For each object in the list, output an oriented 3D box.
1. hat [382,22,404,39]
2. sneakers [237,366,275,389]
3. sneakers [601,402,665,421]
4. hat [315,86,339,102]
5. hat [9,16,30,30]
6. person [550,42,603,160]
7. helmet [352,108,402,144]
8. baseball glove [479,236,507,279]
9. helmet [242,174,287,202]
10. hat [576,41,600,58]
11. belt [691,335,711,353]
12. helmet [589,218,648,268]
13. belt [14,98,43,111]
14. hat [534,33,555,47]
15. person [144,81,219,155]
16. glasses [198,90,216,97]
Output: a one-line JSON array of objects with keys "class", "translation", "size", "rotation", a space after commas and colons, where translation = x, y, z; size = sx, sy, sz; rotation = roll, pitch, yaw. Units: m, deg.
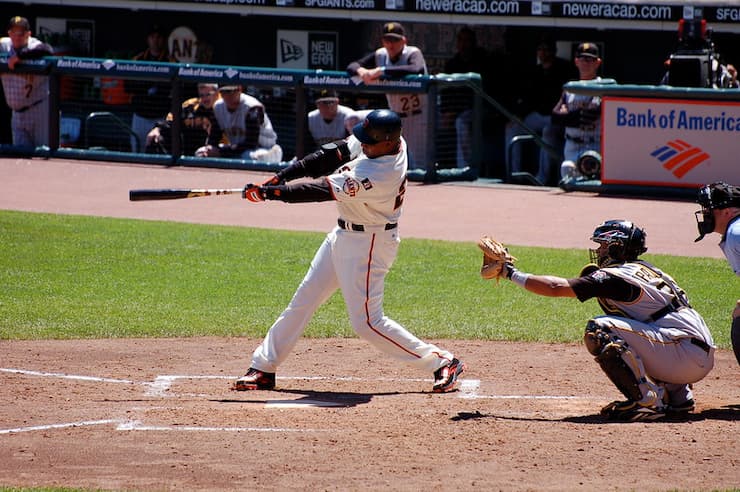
[{"class": "hat", "translation": [0.313, -3.033, 20.905], "size": [0.299, 0.188, 0.379], "rotation": [1, -6, 15]}, {"class": "sneakers", "translation": [-1.148, 1.364, 15.209], "size": [0.449, 0.172, 0.169], "rotation": [2, 3, -6]}, {"class": "sneakers", "translation": [2.523, 1.588, 14.530], "size": [0.394, 0.116, 0.249], "rotation": [-3, 2, -1]}, {"class": "hat", "translation": [-0.603, -2.131, 21.044], "size": [0.233, 0.164, 0.302], "rotation": [-4, 26, 5]}, {"class": "hat", "translation": [-5.104, -3.280, 21.823], "size": [0.241, 0.198, 0.553], "rotation": [-1, 5, -9]}, {"class": "person", "translation": [2.924, -2.009, 20.777], "size": [0.547, 1.641, 0.797], "rotation": [-2, 7, -22]}, {"class": "helmet", "translation": [0.065, -1.185, 14.636], "size": [0.469, 0.278, 0.214], "rotation": [3, -38, -3]}, {"class": "baseball glove", "translation": [1.194, 0.113, 14.702], "size": [0.199, 0.359, 0.319], "rotation": [-16, 0, 21]}, {"class": "helmet", "translation": [-1.079, -0.553, 14.847], "size": [0.343, 0.123, 0.305], "rotation": [-13, 4, 18]}, {"class": "hat", "translation": [3.019, -2.753, 20.815], "size": [0.332, 0.181, 0.407], "rotation": [6, -5, 19]}, {"class": "belt", "translation": [3.196, 0.951, 14.527], "size": [0.183, 0.056, 0.129], "rotation": [24, 8, -5]}, {"class": "helmet", "translation": [2.406, -0.049, 14.518], "size": [0.592, 0.357, 0.411], "rotation": [4, 2, 12]}, {"class": "belt", "translation": [-5.034, -2.124, 22.120], "size": [0.321, 0.080, 0.213], "rotation": [-20, 10, -2]}, {"class": "hat", "translation": [2.533, -3.004, 21.732], "size": [0.259, 0.185, 0.371], "rotation": [1, 5, 5]}, {"class": "person", "translation": [-2.699, -1.856, 21.924], "size": [0.967, 1.056, 0.390], "rotation": [-9, 33, -31]}, {"class": "glasses", "translation": [-2.368, -2.196, 21.438], "size": [0.270, 0.073, 0.118], "rotation": [5, 7, 41]}]
